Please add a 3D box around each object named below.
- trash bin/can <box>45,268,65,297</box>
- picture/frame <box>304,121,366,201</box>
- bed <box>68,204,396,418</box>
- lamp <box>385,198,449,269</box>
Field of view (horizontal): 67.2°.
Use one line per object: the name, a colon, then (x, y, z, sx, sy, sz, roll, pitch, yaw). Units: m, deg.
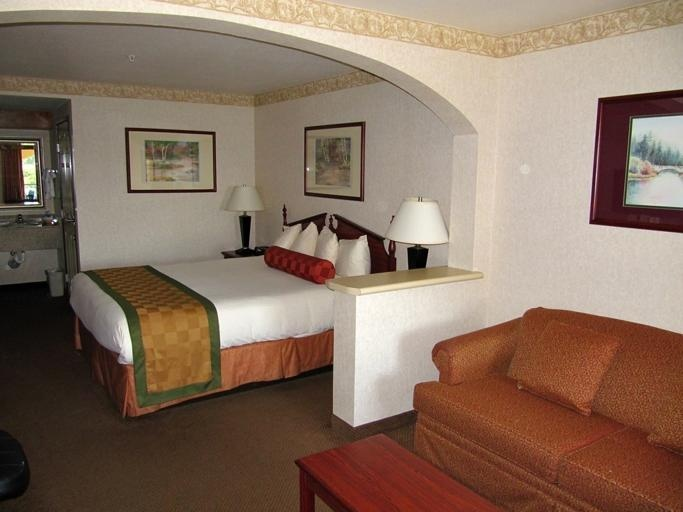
trash bin/can: (-4.480, 0.412, 8.061, 0.233, 0.379, 0.449, -4, 12, -30)
picture/frame: (-0.056, -1.171, 6.305, 0.046, 0.772, 0.980, -8, 13, -33)
bed: (-1.272, 0.346, 5.755, 3.099, 1.550, 2.647, -4, 12, -30)
lamp: (0.683, -0.181, 4.631, 0.466, 0.662, 0.460, -8, 15, -43)
